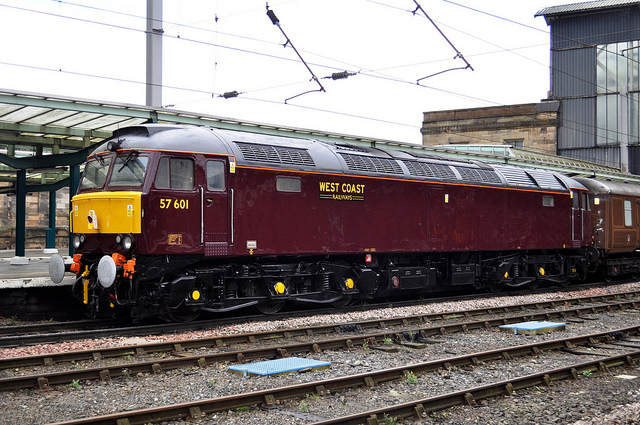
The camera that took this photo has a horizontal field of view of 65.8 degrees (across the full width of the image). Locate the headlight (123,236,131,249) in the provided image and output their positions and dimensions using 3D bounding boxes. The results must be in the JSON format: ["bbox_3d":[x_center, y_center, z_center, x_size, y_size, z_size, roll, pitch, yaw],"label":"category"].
[{"bbox_3d":[-4.786,0.749,12.220,0.246,0.307,0.058,-5,-2,33],"label":"headlight"}]

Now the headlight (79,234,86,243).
[{"bbox_3d":[-6.249,0.688,12.988,0.199,0.185,0.046,6,-6,18],"label":"headlight"}]

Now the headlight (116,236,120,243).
[{"bbox_3d":[-5.045,0.677,12.311,0.115,0.156,0.026,-5,-2,32],"label":"headlight"}]
